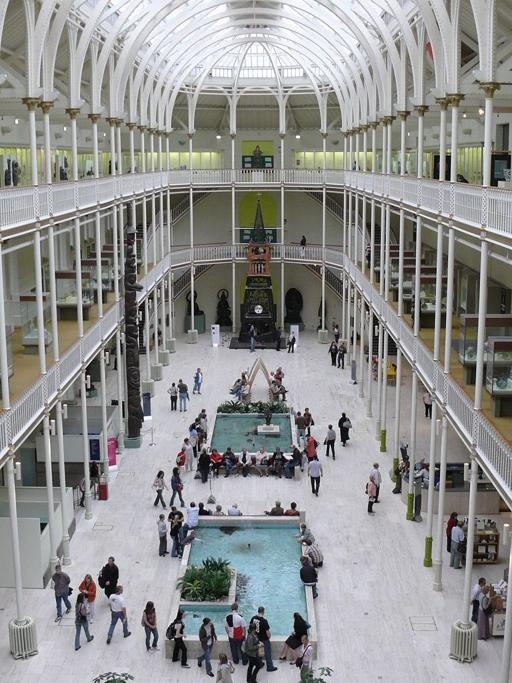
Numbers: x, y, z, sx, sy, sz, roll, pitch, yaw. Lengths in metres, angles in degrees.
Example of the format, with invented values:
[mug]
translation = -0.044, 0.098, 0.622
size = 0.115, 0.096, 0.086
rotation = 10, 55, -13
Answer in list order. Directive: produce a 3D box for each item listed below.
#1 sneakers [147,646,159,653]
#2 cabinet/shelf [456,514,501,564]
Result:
[sneakers]
translation = -1.535, 4.525, 8.402
size = 0.114, 0.064, 0.072
rotation = -11, 35, -18
[cabinet/shelf]
translation = 4.614, 3.998, 11.297
size = 0.390, 0.615, 0.751
rotation = -9, -3, -28
